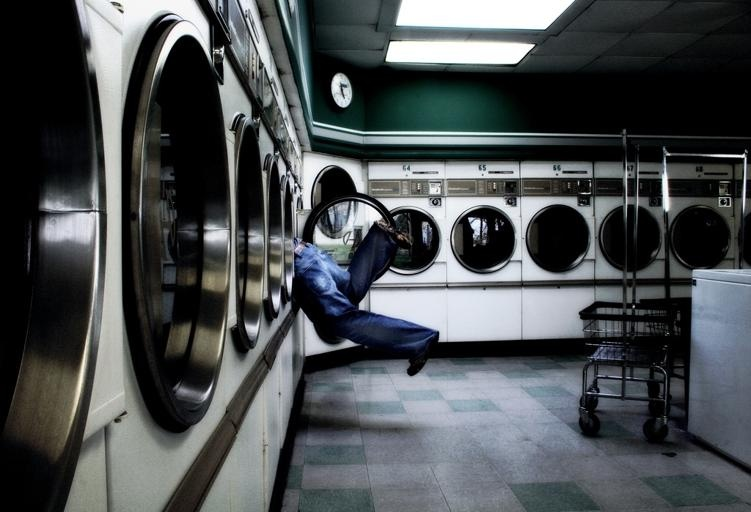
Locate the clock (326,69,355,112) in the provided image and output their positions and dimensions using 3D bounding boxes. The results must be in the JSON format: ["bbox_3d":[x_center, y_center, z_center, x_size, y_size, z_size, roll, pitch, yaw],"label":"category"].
[{"bbox_3d":[-0.296,-1.459,4.930,0.274,0.280,0.027,25,38,39],"label":"clock"}]

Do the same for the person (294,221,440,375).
[{"bbox_3d":[-0.091,0.296,3.726,1.030,0.947,0.471,7,-16,16],"label":"person"}]

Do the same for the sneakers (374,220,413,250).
[{"bbox_3d":[0.131,-0.157,3.976,0.255,0.108,0.160,40,30,4],"label":"sneakers"}]
